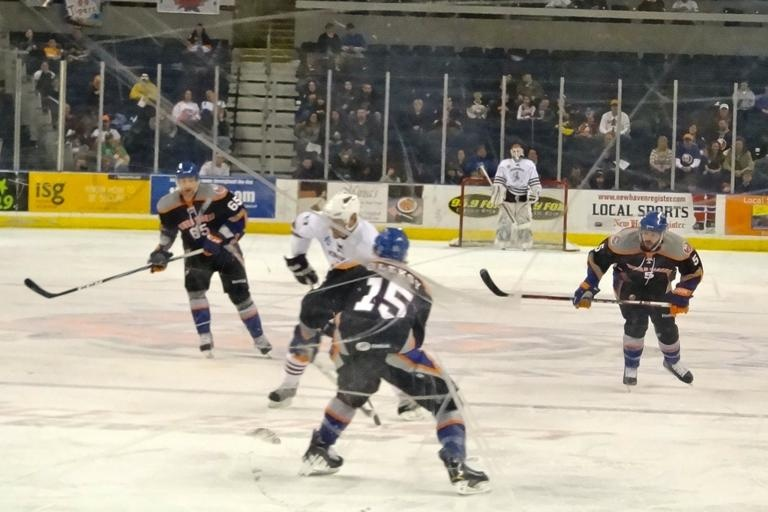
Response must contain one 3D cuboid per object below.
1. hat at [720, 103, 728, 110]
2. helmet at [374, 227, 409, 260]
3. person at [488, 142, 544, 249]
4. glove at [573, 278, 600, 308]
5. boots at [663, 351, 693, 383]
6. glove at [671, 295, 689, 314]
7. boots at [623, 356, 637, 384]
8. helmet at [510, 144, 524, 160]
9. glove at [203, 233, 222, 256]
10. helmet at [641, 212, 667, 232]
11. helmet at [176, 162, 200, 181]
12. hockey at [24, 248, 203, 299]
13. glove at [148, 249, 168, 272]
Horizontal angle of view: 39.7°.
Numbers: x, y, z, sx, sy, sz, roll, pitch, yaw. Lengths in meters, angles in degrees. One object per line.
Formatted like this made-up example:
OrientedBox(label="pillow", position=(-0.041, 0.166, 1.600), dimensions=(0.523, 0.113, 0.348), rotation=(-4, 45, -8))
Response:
OrientedBox(label="hat", position=(5.961, -2.582, 18.677), dimensions=(0.149, 0.123, 0.275), rotation=(3, 4, 14))
OrientedBox(label="helmet", position=(0.069, -0.112, 8.918), dimensions=(0.308, 0.244, 0.268), rotation=(19, 16, 0))
OrientedBox(label="person", position=(2.219, -0.978, 18.203), dimensions=(0.802, 1.740, 0.372), rotation=(3, 5, 2))
OrientedBox(label="glove", position=(2.005, 0.387, 10.690), dimensions=(0.122, 0.267, 0.270), rotation=(36, 19, -6))
OrientedBox(label="boots", position=(2.965, 1.151, 10.733), dimensions=(0.181, 0.139, 0.444), rotation=(48, 1, -40))
OrientedBox(label="glove", position=(2.966, 0.495, 10.710), dimensions=(0.176, 0.204, 0.192), rotation=(3, 4, 11))
OrientedBox(label="boots", position=(2.466, 1.153, 10.656), dimensions=(0.142, 0.253, 0.271), rotation=(4, 4, 13))
OrientedBox(label="helmet", position=(2.243, -1.751, 18.175), dimensions=(0.297, 0.276, 0.300), rotation=(1, -14, -1))
OrientedBox(label="glove", position=(-1.739, -0.100, 10.672), dimensions=(0.190, 0.130, 0.192), rotation=(1, 7, -1))
OrientedBox(label="helmet", position=(2.645, -0.304, 10.484), dimensions=(0.197, 0.190, 0.236), rotation=(7, -21, 27))
OrientedBox(label="helmet", position=(-2.031, -0.858, 10.875), dimensions=(0.212, 0.146, 0.312), rotation=(-2, -5, -14))
OrientedBox(label="hockey", position=(-3.292, 0.241, 12.751), dimensions=(1.916, 0.228, 0.130), rotation=(-14, -12, -7))
OrientedBox(label="glove", position=(-2.296, 0.070, 10.873), dimensions=(0.186, 0.230, 0.082), rotation=(24, -28, 17))
